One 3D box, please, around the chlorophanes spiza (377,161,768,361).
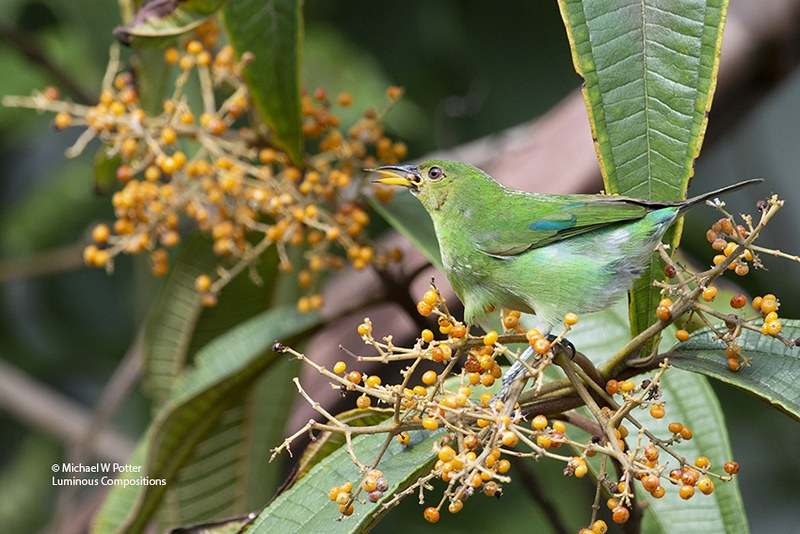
[{"bbox_3d":[0.592,-0.126,3.376,1.241,0.859,0.244,-5,-11,21],"label":"chlorophanes spiza"}]
